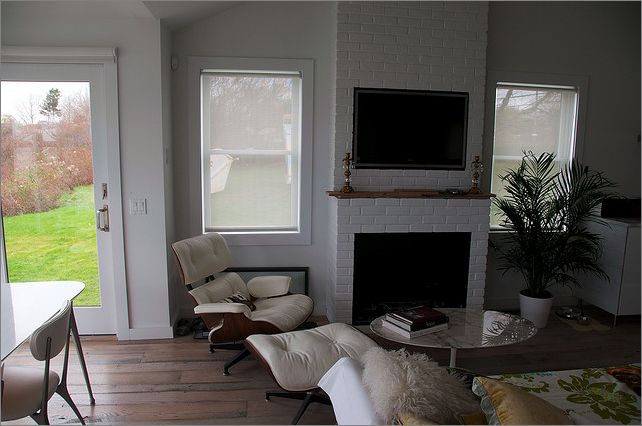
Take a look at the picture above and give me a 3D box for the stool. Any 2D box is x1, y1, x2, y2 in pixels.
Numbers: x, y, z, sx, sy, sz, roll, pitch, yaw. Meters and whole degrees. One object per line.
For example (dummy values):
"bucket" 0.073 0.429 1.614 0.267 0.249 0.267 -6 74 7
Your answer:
"stool" -0.155 1.059 3.795 1.100 0.616 0.735 -5 16 -32

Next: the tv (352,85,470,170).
"tv" 0.949 -0.886 4.887 1.252 0.839 0.082 -1 9 -6

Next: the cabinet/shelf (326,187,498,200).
"cabinet/shelf" 0.941 -0.191 4.876 1.724 0.122 0.209 -1 8 -7

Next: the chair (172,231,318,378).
"chair" -0.724 0.840 4.476 1.262 1.136 1.136 1 9 8

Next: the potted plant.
"potted plant" 2.458 0.437 5.145 1.195 1.690 1.263 11 -7 -29
